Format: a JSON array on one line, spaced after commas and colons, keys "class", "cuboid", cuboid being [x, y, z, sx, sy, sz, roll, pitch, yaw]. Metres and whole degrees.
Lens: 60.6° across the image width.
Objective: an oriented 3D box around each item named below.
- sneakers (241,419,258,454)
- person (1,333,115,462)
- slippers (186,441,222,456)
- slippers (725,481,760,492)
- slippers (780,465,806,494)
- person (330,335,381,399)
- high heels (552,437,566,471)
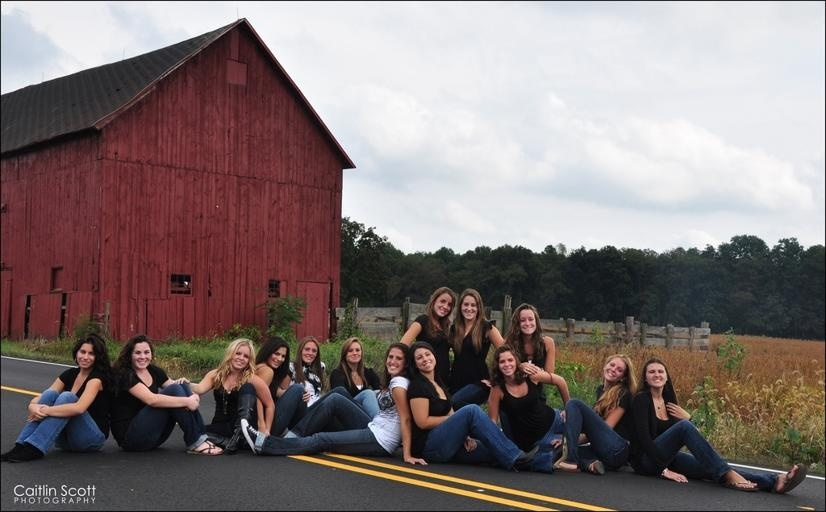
[{"class": "sneakers", "cuboid": [-2.829, 3.030, 12.276, 0.248, 0.692, 0.221, -9, -3, -9]}, {"class": "person", "cuboid": [-5.699, 2.279, 11.692, 1.404, 1.964, 0.579, 0, 2, -24]}, {"class": "slippers", "cuboid": [-3.564, 3.283, 12.164, 0.452, 0.129, 0.260, -1, 1, 23]}, {"class": "slippers", "cuboid": [5.202, 3.621, 11.218, 0.303, 0.079, 0.170, -9, -10, 43]}, {"class": "slippers", "cuboid": [5.976, 3.459, 11.115, 0.304, 0.488, 0.256, 2, 3, 29]}, {"class": "person", "cuboid": [-1.092, 2.131, 13.420, 1.123, 1.186, 0.723, 0, -4, -20]}, {"class": "high heels", "cuboid": [2.437, 3.265, 11.878, 0.159, 0.565, 0.218, 5, 12, -4]}]
